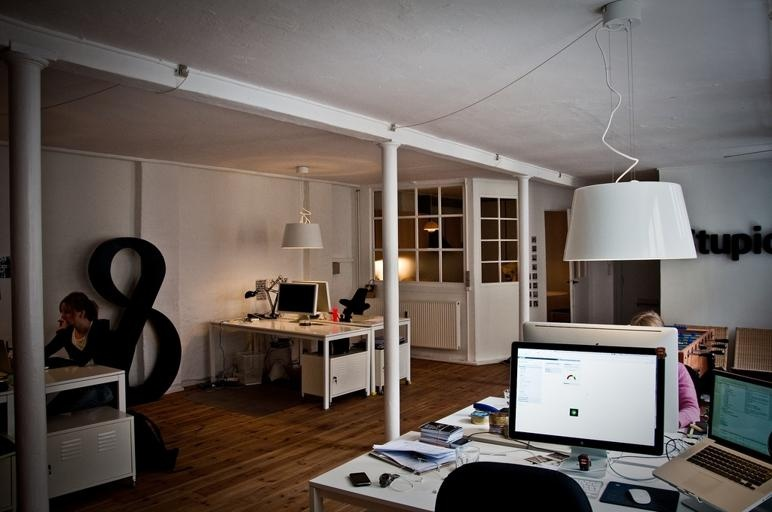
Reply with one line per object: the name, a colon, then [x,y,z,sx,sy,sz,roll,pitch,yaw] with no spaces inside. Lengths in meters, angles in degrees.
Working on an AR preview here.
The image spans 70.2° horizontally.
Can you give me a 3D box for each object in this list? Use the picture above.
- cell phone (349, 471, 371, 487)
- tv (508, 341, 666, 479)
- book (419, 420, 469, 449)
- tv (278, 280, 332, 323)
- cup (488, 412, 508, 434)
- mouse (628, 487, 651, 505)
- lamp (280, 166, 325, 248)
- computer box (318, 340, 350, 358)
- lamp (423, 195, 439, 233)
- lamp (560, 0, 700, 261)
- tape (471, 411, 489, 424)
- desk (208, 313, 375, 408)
cell phone: [-0.157,1.331,3.284,0.118,0.030,0.135,-2,6,-21]
tv: [1.218,0.915,3.303,0.906,0.651,0.251,0,-4,19]
book: [0.372,1.186,3.667,0.206,0.066,0.160,0,3,30]
tv: [-1.140,0.650,7.684,0.607,0.383,0.264,-3,-1,30]
cup: [0.770,1.148,3.819,0.132,0.093,0.136,0,6,0]
mouse: [1.425,1.345,3.081,0.113,0.041,0.108,1,6,9]
lamp: [-1.185,-0.670,7.689,0.644,1.043,0.566,-1,8,-21]
computer box: [-0.633,1.187,7.135,0.203,0.234,0.374,-4,-4,38]
lamp: [0.740,-0.687,9.157,0.331,0.625,0.171,3,7,17]
lamp: [1.618,-0.787,3.640,0.722,1.707,1.717,3,6,19]
tape: [0.675,1.161,3.948,0.125,0.039,0.112,-1,1,8]
desk: [-1.284,1.318,7.508,2.220,0.930,0.988,4,7,33]
